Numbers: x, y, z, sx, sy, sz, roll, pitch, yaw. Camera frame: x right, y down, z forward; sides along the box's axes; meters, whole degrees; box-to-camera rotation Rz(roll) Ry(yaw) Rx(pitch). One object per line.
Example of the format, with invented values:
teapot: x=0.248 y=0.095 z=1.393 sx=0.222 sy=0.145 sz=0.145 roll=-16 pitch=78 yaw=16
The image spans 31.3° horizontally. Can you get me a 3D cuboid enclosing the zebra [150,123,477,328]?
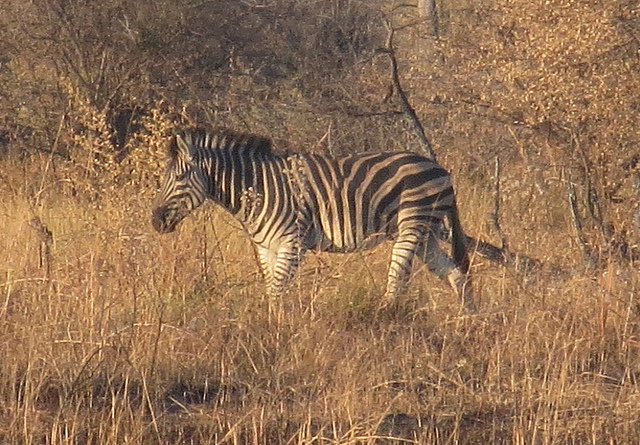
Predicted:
zebra: x=0.081 y=0.137 z=18.193 sx=5.090 sy=3.955 sz=1.473 roll=-6 pitch=19 yaw=-8
